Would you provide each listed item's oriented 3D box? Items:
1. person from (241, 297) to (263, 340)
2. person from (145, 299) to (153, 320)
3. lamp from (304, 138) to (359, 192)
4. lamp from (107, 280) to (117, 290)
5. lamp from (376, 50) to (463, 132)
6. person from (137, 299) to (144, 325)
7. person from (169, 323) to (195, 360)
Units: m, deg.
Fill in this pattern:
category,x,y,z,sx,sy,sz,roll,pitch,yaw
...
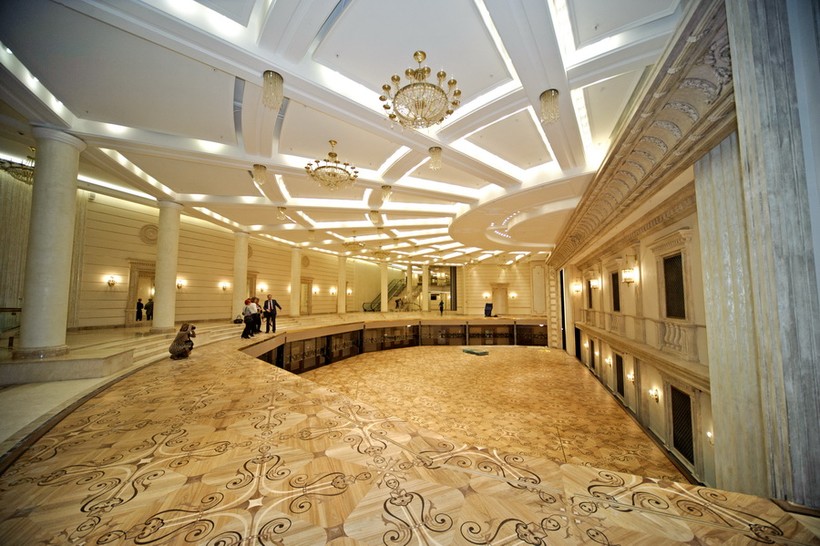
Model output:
category,x,y,z,sx,sy,sz,roll,pitch,yaw
person,-4.996,1.404,13.736,0.568,1.299,1.028,2,-7,-18
person,-9.458,1.344,15.755,0.198,0.726,0.557,4,-8,-36
lamp,-1.898,-2.361,10.515,1.135,1.017,1.150,-19,-28,38
lamp,-9.849,0.381,14.381,0.107,0.343,0.258,-3,-7,18
lamp,0.187,-3.036,7.930,1.336,1.250,1.394,8,-15,-22
person,-9.533,1.355,15.365,0.138,0.792,0.460,1,-7,-15
person,-5.688,1.711,10.880,0.517,0.855,0.691,2,-7,-25
